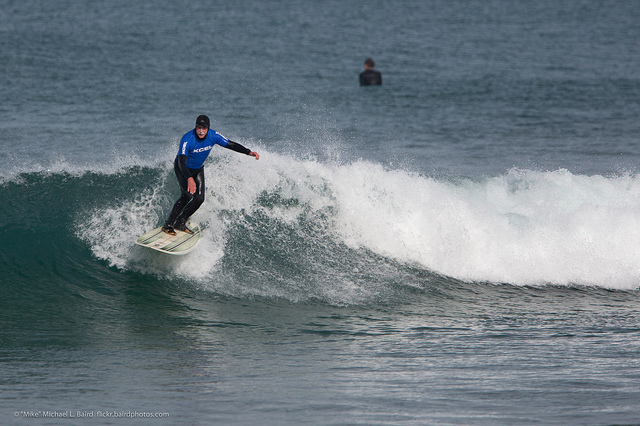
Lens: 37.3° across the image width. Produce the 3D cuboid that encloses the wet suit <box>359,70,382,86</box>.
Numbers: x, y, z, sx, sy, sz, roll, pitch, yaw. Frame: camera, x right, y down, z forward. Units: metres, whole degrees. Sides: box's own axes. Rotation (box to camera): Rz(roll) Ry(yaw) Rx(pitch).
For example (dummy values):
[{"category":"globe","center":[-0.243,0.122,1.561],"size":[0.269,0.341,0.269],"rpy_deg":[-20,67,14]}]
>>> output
[{"category":"wet suit","center":[2.210,-5.882,41.051],"size":[1.255,1.066,0.613],"rpy_deg":[0,28,1]}]

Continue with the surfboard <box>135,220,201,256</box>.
[{"category":"surfboard","center":[-4.551,0.860,29.303],"size":[1.734,0.927,1.047],"rpy_deg":[-26,59,-4]}]
